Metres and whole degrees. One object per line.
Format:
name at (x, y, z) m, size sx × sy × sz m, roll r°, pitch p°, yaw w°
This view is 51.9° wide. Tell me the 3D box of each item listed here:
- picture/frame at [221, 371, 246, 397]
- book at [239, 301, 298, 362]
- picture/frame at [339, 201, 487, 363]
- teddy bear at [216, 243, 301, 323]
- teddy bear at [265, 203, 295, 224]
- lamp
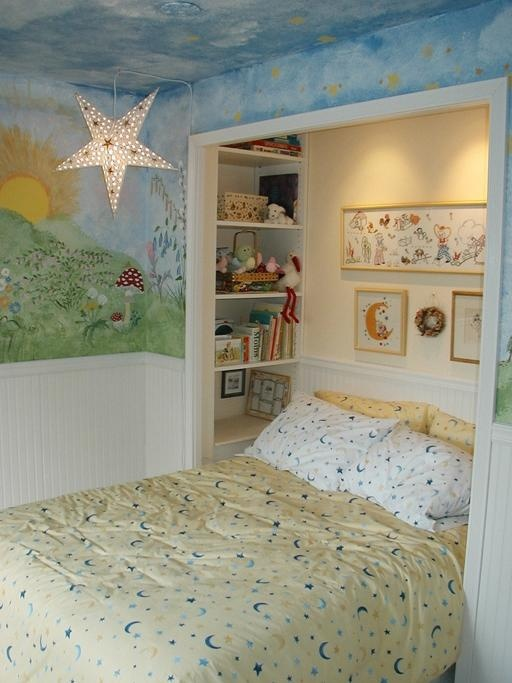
picture/frame at (-0.157, 0.283, 3.491) m, size 0.014 × 0.188 × 0.193 m, roll 10°, pitch 11°, yaw 39°
book at (0.065, -0.097, 3.480) m, size 0.348 × 0.457 × 0.401 m, roll -4°, pitch 9°, yaw -42°
picture/frame at (0.842, -0.312, 2.741) m, size 0.025 × 0.660 × 0.907 m, roll -5°, pitch 8°, yaw -38°
teddy bear at (-0.001, -0.330, 3.260) m, size 0.646 × 0.440 × 0.216 m, roll -1°, pitch 4°, yaw -42°
teddy bear at (0.159, -0.769, 3.270) m, size 0.151 × 0.107 × 0.148 m, roll 0°, pitch 2°, yaw 34°
lamp at (-0.446, -0.627, 1.764) m, size 0.240 × 0.410 × 0.336 m, roll 2°, pitch 3°, yaw 23°
